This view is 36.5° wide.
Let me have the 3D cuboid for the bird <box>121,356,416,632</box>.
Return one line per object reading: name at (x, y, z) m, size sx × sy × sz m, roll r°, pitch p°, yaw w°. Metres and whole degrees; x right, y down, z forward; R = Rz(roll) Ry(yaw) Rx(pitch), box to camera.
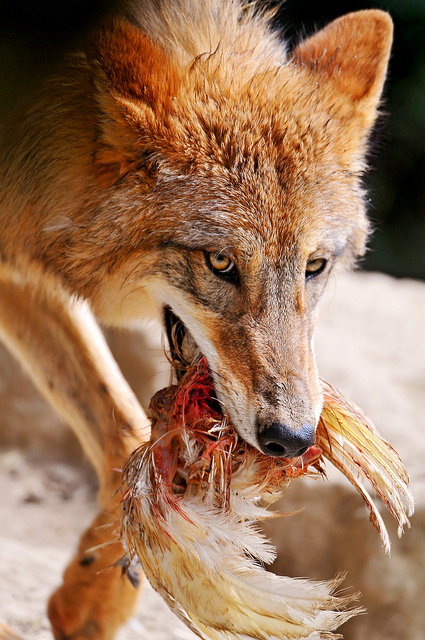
bird at (0.128, 0.492, 1.754) m, size 0.747 × 0.379 × 0.721 m, roll 17°, pitch 72°, yaw 10°
